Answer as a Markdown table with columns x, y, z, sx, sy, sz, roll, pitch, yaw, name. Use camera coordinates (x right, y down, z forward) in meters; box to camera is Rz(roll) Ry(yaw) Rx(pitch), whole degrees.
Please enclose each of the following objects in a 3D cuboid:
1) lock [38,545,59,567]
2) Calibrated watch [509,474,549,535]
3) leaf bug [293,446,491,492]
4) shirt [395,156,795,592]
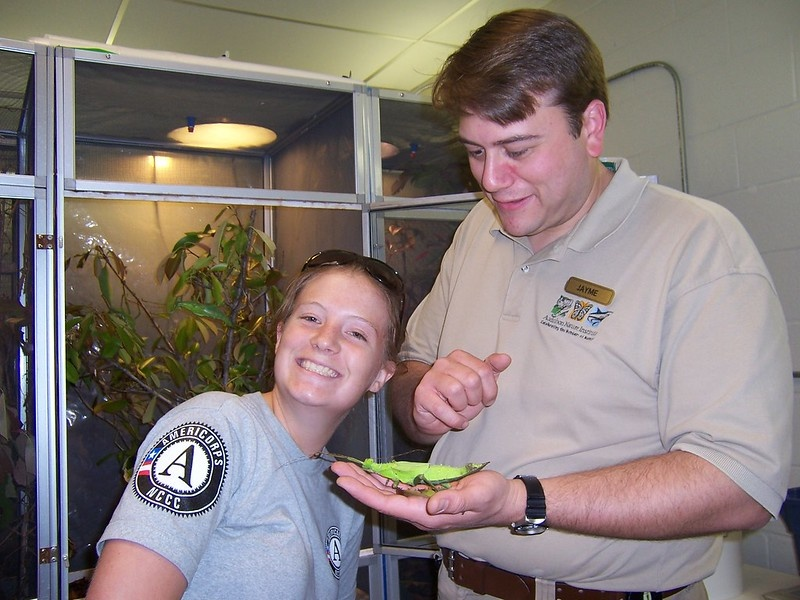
| x | y | z | sx | sy | sz | roll | pitch | yaw | name |
| --- | --- | --- | --- | --- | --- | --- | --- | --- | --- |
| -1.329 | 0.961 | 2.346 | 0.088 | 0.079 | 0.047 | 6 | -12 | -40 | lock |
| 0.319 | 0.488 | 1.522 | 0.091 | 0.130 | 0.142 | -1 | 0 | -4 | Calibrated watch |
| -0.002 | 0.460 | 1.687 | 0.472 | 0.094 | 0.231 | 2 | -8 | 12 | leaf bug |
| 0.541 | 0.044 | 1.807 | 1.003 | 0.974 | 0.410 | -2 | -5 | 29 | shirt |
